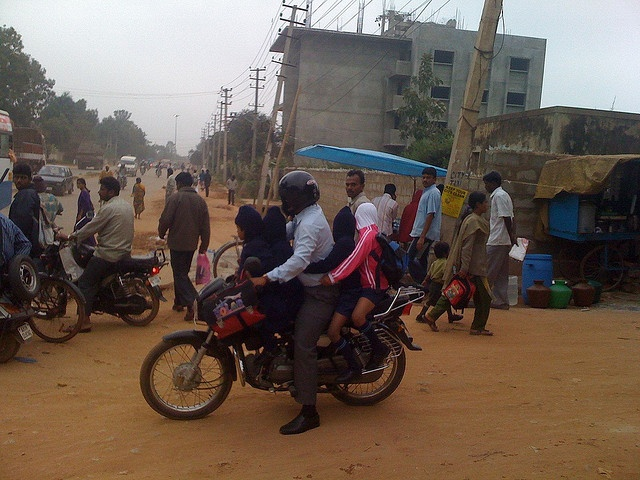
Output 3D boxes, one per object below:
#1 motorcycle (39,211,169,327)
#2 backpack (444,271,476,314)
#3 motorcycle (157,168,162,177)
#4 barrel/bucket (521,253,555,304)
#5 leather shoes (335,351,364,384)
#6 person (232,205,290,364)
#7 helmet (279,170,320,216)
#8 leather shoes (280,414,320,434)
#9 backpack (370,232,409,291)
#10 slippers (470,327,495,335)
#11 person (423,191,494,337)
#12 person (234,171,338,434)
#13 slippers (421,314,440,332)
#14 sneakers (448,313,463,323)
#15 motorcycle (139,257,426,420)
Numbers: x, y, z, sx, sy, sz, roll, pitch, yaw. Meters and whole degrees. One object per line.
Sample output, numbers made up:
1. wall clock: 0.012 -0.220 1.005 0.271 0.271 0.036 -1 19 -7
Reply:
1. motorcycle: -3.379 0.453 8.202 2.162 1.678 1.088 3 8 2
2. backpack: 2.012 0.738 7.930 0.254 0.480 0.318 -2 29 -47
3. motorcycle: -18.359 -7.768 61.498 0.705 0.640 1.439 6 9 -12
4. barrel/bucket: 4.208 0.765 10.401 0.588 1.021 0.632 2 1 0
5. leather shoes: 0.311 1.289 5.399 0.386 0.321 0.151 -6 -2 -34
6. person: -0.700 0.225 5.484 0.636 1.258 0.477 6 24 -14
7. helmet: -0.216 -0.461 5.408 0.432 0.515 0.369 2 9 19
8. leather shoes: -0.187 1.777 5.233 0.362 0.165 0.155 -8 12 -23
9. backpack: 0.618 0.190 5.583 0.507 0.496 0.338 -17 -14 41
10. slippers: 2.446 1.339 8.119 0.314 0.145 0.123 -1 9 8
11. person: 2.155 0.337 8.134 0.959 2.145 0.804 3 2 9
12. person: -0.177 0.589 5.278 0.560 2.512 0.720 6 11 36
13. slippers: 1.720 1.300 8.501 0.147 0.144 0.387 -28 -11 -6
14. sneakers: 2.283 1.273 8.985 0.303 0.154 0.115 -3 15 -26
15. motorcycle: -0.379 0.888 5.512 2.881 1.998 1.210 -3 16 0
